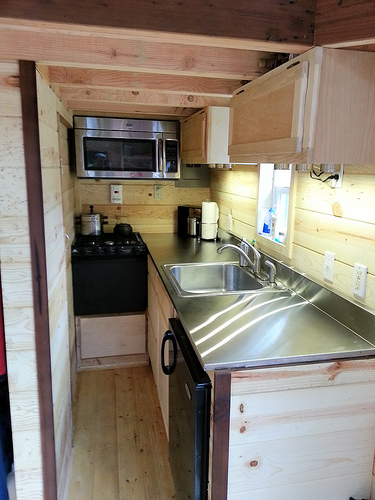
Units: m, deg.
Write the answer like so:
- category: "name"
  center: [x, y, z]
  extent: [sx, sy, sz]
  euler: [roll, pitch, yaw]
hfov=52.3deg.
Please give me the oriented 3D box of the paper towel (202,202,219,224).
- category: "paper towel"
  center: [0.180, -0.303, 3.093]
  extent: [0.132, 0.184, 0.125]
  euler: [1, 12, 0]

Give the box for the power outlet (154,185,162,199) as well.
- category: "power outlet"
  center: [-0.274, -0.524, 3.414]
  extent: [0.083, 0.123, 0.095]
  euler: [-2, 16, -16]

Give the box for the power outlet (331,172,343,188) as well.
- category: "power outlet"
  center: [0.573, -0.275, 1.497]
  extent: [0.017, 0.043, 0.065]
  euler: [-1, 9, -18]

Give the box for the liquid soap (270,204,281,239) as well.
- category: "liquid soap"
  center: [0.510, -0.167, 2.229]
  extent: [0.049, 0.190, 0.187]
  euler: [4, 12, 11]

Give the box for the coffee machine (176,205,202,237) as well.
- category: "coffee machine"
  center: [0.009, -0.261, 3.371]
  extent: [0.117, 0.267, 0.378]
  euler: [-5, 14, -28]

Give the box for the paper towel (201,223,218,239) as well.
- category: "paper towel"
  center: [0.177, -0.161, 3.148]
  extent: [0.134, 0.137, 0.113]
  euler: [-1, 9, -11]

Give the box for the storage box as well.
- category: "storage box"
  center: [0.131, -0.795, 2.717]
  extent: [0.223, 0.339, 0.599]
  euler: [-4, 14, -14]

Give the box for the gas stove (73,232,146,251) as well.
- category: "gas stove"
  center: [-0.637, -0.074, 3.058]
  extent: [0.537, 0.068, 0.526]
  euler: [-2, 12, -15]

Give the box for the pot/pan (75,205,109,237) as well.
- category: "pot/pan"
  center: [-0.795, -0.237, 3.189]
  extent: [0.288, 0.242, 0.201]
  euler: [0, 18, -11]

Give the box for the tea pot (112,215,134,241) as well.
- category: "tea pot"
  center: [-0.554, -0.198, 3.300]
  extent: [0.215, 0.235, 0.213]
  euler: [0, 8, 0]
